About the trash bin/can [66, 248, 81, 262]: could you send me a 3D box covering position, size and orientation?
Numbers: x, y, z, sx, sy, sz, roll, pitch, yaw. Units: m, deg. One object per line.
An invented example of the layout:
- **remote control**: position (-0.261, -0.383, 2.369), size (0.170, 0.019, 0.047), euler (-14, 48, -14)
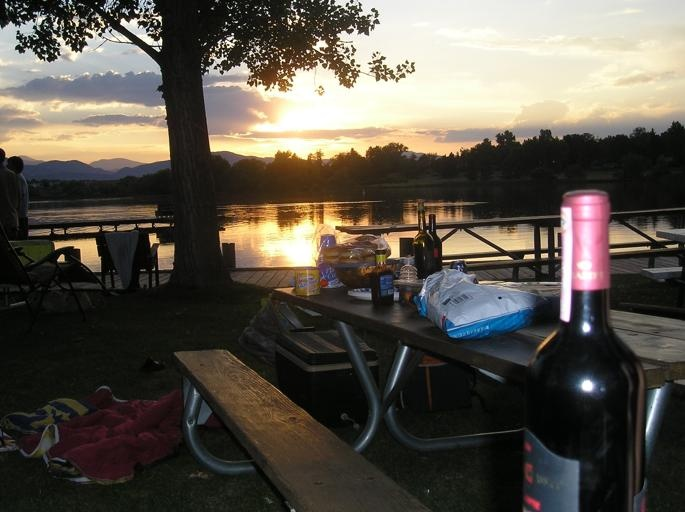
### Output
- **trash bin/can**: position (-3.561, -0.005, 7.258), size (0.206, 0.206, 0.197), euler (1, 6, 9)

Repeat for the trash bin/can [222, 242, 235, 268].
- **trash bin/can**: position (-1.929, 0.012, 9.291), size (0.200, 0.440, 0.387), euler (-6, 6, -14)

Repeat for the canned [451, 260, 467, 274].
- **canned**: position (0.441, 0.043, 2.142), size (0.049, 0.060, 0.066), euler (7, 18, 22)

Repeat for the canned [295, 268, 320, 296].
- **canned**: position (-0.162, 0.121, 2.576), size (0.124, 0.125, 0.118), euler (-1, 4, -25)

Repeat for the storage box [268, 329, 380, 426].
- **storage box**: position (-0.134, 0.692, 3.380), size (0.540, 0.494, 0.810), euler (-1, 3, -19)
